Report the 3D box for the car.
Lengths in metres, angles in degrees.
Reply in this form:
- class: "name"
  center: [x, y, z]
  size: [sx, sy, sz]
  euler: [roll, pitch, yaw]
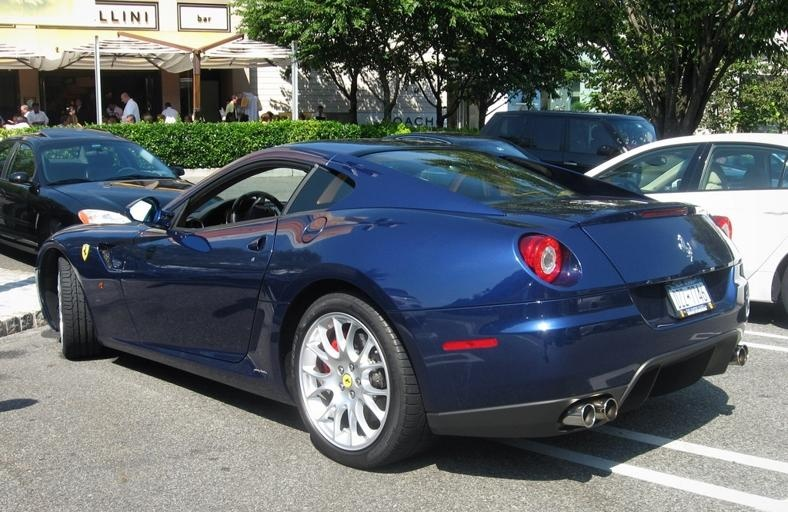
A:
- class: "car"
  center: [-0.378, 0.116, 4.338]
  size: [4.043, 1.270, 2.289]
  euler: [11, 12, 39]
